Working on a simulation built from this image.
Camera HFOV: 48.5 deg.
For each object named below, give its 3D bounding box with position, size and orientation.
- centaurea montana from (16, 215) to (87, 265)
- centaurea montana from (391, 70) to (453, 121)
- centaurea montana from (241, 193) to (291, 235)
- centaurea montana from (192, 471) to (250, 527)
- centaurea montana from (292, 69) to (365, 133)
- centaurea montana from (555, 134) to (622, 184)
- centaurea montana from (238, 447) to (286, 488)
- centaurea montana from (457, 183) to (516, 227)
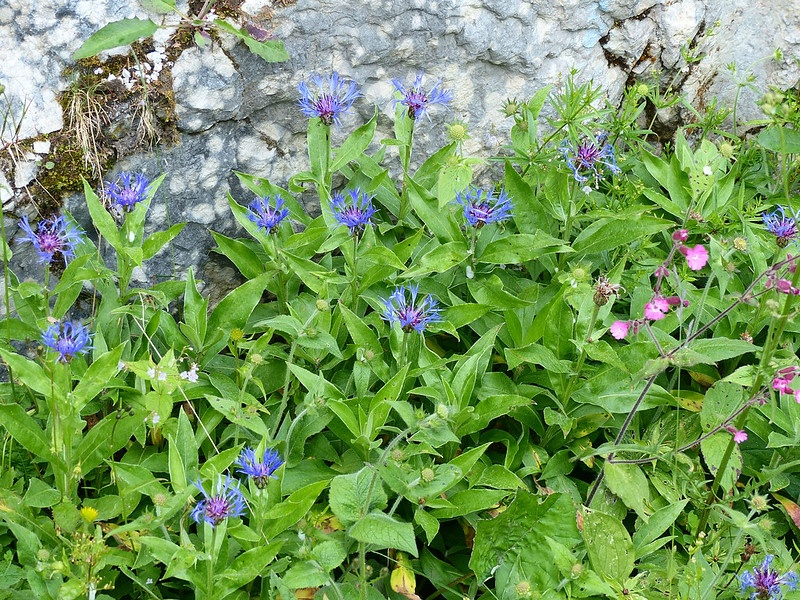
[{"bbox_3d":[-1.433,-0.246,3.620,0.243,0.126,0.242,-33,38,-28],"label":"centaurea montana"},{"bbox_3d":[0.057,-0.863,3.917,0.289,0.301,0.174,6,90,-35],"label":"centaurea montana"},{"bbox_3d":[-0.569,-0.382,3.907,0.170,0.201,0.126,-17,79,-23],"label":"centaurea montana"},{"bbox_3d":[-0.636,0.714,3.097,0.183,0.140,0.203,12,13,38],"label":"centaurea montana"},{"bbox_3d":[-0.317,-0.870,3.945,0.288,0.320,0.203,-3,76,-38],"label":"centaurea montana"},{"bbox_3d":[0.854,-0.664,4.101,0.209,0.241,0.153,-2,86,23],"label":"centaurea montana"},{"bbox_3d":[-0.493,0.632,3.206,0.111,0.126,0.130,-1,16,-26],"label":"centaurea montana"},{"bbox_3d":[0.367,-0.378,3.871,0.198,0.111,0.216,-30,72,-28],"label":"centaurea montana"}]
